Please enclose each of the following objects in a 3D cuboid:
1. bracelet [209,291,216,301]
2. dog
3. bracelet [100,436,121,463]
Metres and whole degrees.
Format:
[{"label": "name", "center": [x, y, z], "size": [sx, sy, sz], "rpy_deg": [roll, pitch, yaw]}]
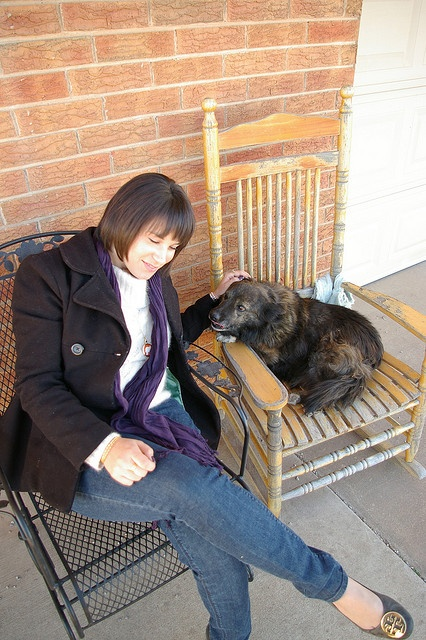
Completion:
[{"label": "bracelet", "center": [-0.004, -0.101, 2.043], "size": [0.009, 0.031, 0.032], "rpy_deg": [-38, 27, 13]}, {"label": "dog", "center": [0.347, 0.184, 2.248], "size": [0.729, 0.369, 0.538], "rpy_deg": [13, 52, -17]}, {"label": "bracelet", "center": [-0.266, 0.326, 1.189], "size": [0.019, 0.055, 0.049], "rpy_deg": [29, 0, 13]}]
